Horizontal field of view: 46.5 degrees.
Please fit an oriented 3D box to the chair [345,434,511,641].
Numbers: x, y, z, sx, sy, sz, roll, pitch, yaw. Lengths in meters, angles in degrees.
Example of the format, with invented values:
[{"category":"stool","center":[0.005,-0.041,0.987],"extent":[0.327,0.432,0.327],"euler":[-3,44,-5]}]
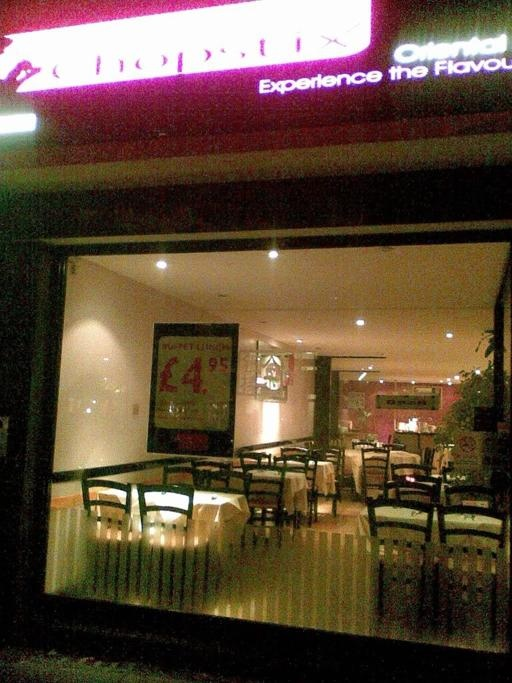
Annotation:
[{"category":"chair","center":[0.827,1.008,2.840],"extent":[0.621,0.435,0.616],"euler":[0,0,15]}]
